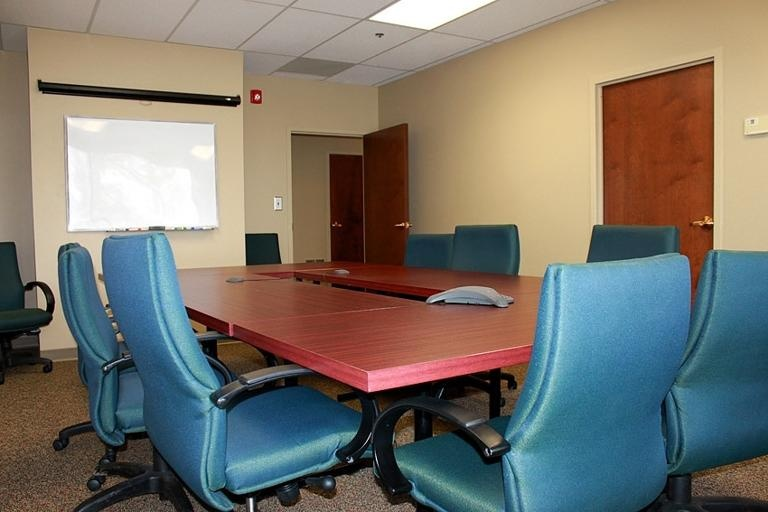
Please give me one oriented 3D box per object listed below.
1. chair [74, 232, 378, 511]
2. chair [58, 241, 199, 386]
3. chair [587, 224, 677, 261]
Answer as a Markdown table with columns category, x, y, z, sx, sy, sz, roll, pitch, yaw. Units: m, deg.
| category | x | y | z | sx | sy | sz | roll | pitch | yaw |
| --- | --- | --- | --- | --- | --- | --- | --- | --- | --- |
| chair | -0.764 | 0.361 | 2.818 | 1.183 | 1.593 | 1.185 | -6 | 7 | -34 |
| chair | -1.347 | 0.285 | 3.033 | 0.700 | 0.883 | 0.603 | -3 | 4 | -30 |
| chair | 1.542 | -0.084 | 3.462 | 0.233 | 0.220 | 0.230 | -22 | 11 | -34 |
